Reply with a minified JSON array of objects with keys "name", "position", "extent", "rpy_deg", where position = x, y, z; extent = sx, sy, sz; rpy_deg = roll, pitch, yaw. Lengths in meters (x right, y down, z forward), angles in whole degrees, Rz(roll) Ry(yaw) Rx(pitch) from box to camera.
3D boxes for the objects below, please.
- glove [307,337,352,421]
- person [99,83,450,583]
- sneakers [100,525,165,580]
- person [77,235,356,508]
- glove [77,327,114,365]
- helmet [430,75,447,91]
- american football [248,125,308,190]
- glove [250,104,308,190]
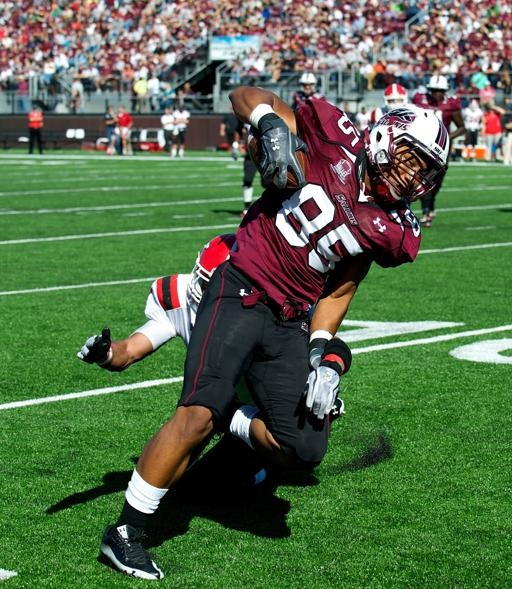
[{"name":"glove","position":[0.203,0.231,2.083],"extent":[0.121,0.099,0.275],"rpy_deg":[0,25,2]},{"name":"person","position":[0.062,0.043,2.027],"extent":[0.553,1.234,1.000],"rpy_deg":[9,13,33]},{"name":"sneakers","position":[-0.311,0.641,1.815],"extent":[0.096,0.116,0.169],"rpy_deg":[-7,13,-37]},{"name":"person","position":[-0.137,0.190,2.332],"extent":[0.853,0.443,0.904],"rpy_deg":[12,48,-9]},{"name":"glove","position":[-0.462,0.155,2.136],"extent":[0.049,0.091,0.127],"rpy_deg":[28,11,2]},{"name":"helmet","position":[2.218,-2.622,8.814],"extent":[0.192,0.201,0.196],"rpy_deg":[-2,-12,10]},{"name":"american football","position":[0.038,-0.379,2.070],"extent":[0.078,0.173,0.157],"rpy_deg":[-22,-14,42]},{"name":"glove","position":[0.043,-0.431,2.084],"extent":[0.119,0.162,0.251],"rpy_deg":[3,36,-18]}]
